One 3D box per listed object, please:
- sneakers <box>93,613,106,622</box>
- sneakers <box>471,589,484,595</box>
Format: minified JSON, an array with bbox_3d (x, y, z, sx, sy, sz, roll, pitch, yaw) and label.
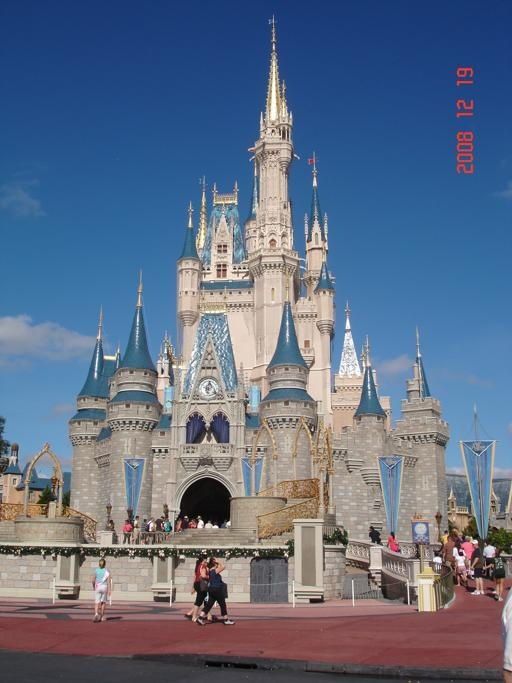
[{"bbox_3d":[-2.787,4.924,16.184,0.128,0.158,0.372,4,-29,-18],"label":"sneakers"},{"bbox_3d":[5.186,5.879,21.451,0.163,0.201,0.448,3,-11,-13],"label":"sneakers"}]
